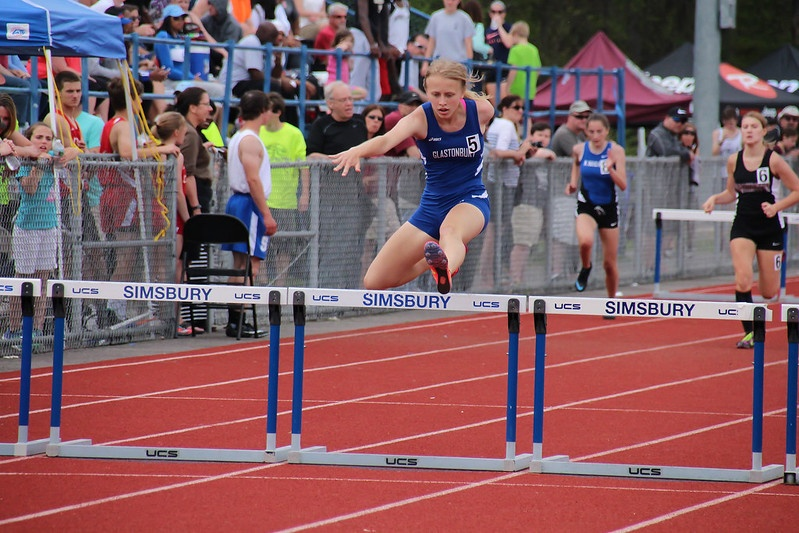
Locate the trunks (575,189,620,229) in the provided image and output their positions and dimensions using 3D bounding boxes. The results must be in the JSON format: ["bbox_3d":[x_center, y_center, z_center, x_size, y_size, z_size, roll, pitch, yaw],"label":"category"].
[{"bbox_3d":[2.580,-0.658,17.523,0.703,0.616,0.408,3,-7,-3],"label":"trunks"}]

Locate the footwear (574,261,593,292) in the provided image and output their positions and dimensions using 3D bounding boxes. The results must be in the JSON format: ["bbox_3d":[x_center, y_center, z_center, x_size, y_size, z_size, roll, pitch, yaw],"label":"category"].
[{"bbox_3d":[2.476,0.105,18.104,0.178,0.221,0.531,5,37,28],"label":"footwear"}]

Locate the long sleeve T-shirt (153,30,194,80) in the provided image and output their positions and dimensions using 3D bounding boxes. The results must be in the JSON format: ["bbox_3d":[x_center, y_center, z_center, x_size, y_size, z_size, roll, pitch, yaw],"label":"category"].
[{"bbox_3d":[-3.052,-2.795,18.363,0.541,0.721,0.675,-5,3,13],"label":"long sleeve T-shirt"}]

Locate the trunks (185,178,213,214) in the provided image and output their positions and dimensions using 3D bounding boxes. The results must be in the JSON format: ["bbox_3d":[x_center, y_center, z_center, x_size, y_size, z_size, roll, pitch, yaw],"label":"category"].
[{"bbox_3d":[-2.409,-0.861,16.523,0.351,0.615,0.440,1,3,9],"label":"trunks"}]

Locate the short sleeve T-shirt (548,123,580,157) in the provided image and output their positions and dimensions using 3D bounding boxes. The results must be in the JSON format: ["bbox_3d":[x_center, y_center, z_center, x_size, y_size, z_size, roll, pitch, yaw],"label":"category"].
[{"bbox_3d":[2.408,-1.831,19.801,0.409,0.477,0.631,-6,30,2],"label":"short sleeve T-shirt"}]

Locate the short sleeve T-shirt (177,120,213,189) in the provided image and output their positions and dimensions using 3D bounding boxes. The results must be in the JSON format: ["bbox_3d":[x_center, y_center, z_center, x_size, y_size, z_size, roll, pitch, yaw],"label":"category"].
[{"bbox_3d":[-2.451,-1.368,16.248,0.372,0.662,0.665,3,12,-5],"label":"short sleeve T-shirt"}]

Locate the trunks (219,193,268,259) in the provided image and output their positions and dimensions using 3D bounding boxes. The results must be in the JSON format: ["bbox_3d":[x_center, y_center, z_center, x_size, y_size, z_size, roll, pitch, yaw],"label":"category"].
[{"bbox_3d":[-1.814,-0.474,15.889,0.485,0.805,0.623,-11,16,-33],"label":"trunks"}]

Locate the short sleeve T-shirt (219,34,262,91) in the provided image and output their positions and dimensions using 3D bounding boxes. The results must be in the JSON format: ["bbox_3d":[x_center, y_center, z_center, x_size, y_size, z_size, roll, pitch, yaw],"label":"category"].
[{"bbox_3d":[-2.162,-2.891,18.775,0.506,0.870,0.907,-3,29,-11],"label":"short sleeve T-shirt"}]

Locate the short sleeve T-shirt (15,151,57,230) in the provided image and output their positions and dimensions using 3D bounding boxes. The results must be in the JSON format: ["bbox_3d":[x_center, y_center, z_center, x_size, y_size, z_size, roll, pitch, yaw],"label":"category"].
[{"bbox_3d":[-3.970,-0.766,14.854,0.422,0.682,0.158,1,2,-44],"label":"short sleeve T-shirt"}]

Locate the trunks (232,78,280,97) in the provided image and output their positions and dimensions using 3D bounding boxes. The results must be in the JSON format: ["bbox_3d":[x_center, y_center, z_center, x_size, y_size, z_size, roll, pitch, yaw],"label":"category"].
[{"bbox_3d":[-1.969,-2.426,18.372,0.438,0.147,0.374,0,0,-12],"label":"trunks"}]

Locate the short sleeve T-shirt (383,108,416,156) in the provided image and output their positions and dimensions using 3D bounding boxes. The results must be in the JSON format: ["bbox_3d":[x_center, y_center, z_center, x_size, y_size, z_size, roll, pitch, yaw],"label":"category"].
[{"bbox_3d":[-0.022,-1.783,18.492,0.560,0.541,0.570,-3,17,5],"label":"short sleeve T-shirt"}]

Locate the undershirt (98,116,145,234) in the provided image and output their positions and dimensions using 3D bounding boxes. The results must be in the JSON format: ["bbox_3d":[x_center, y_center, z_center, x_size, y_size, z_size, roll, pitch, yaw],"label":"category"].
[{"bbox_3d":[-3.247,-0.973,15.511,0.321,1.151,0.738,-1,-2,13],"label":"undershirt"}]

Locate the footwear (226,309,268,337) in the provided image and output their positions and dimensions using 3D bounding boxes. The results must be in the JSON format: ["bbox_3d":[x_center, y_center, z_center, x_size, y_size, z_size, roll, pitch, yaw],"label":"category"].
[{"bbox_3d":[-1.781,0.695,16.114,0.593,0.389,0.231,1,2,5],"label":"footwear"}]

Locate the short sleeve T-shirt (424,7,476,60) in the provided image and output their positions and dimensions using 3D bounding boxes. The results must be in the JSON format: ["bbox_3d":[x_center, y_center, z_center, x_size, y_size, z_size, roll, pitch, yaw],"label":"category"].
[{"bbox_3d":[0.790,-3.602,21.117,0.743,0.752,0.669,1,14,0],"label":"short sleeve T-shirt"}]
